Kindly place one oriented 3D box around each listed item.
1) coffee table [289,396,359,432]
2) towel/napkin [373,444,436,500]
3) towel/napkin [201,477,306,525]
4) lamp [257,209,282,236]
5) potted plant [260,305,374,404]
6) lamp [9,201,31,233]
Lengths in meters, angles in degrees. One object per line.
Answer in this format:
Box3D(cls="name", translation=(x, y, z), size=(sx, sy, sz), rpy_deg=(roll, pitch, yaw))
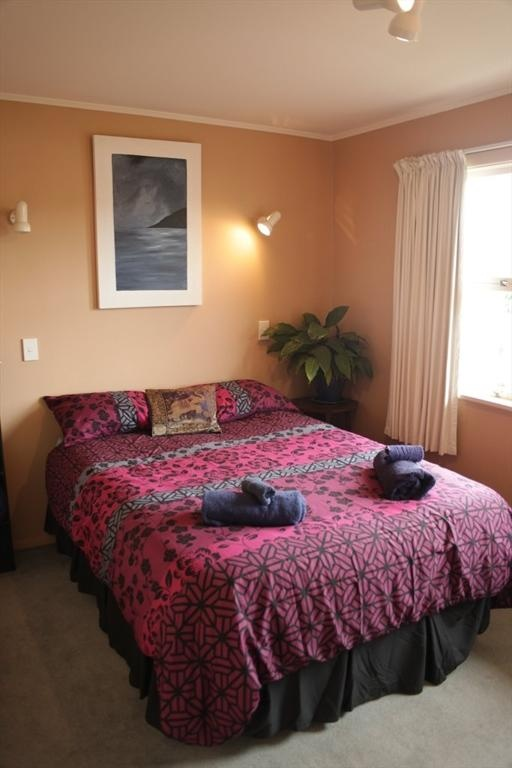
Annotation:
Box3D(cls="coffee table", translation=(0.486, 0.182, 3.907), size=(0.288, 0.332, 0.285), rpy_deg=(-3, 6, -33))
Box3D(cls="towel/napkin", translation=(0.576, 0.350, 2.273), size=(0.134, 0.110, 0.221), rpy_deg=(-1, -2, -2))
Box3D(cls="towel/napkin", translation=(-0.007, 0.427, 1.994), size=(0.229, 0.098, 0.188), rpy_deg=(0, -3, -5))
Box3D(cls="lamp", translation=(0.081, -1.029, 3.688), size=(0.180, 0.130, 0.044), rpy_deg=(-38, -6, 30))
Box3D(cls="potted plant", translation=(0.416, -0.246, 3.844), size=(0.649, 0.534, 0.668), rpy_deg=(3, 11, 16))
Box3D(cls="lamp", translation=(-1.170, -0.819, 2.830), size=(0.099, 0.162, 0.239), rpy_deg=(-3, 8, -23))
